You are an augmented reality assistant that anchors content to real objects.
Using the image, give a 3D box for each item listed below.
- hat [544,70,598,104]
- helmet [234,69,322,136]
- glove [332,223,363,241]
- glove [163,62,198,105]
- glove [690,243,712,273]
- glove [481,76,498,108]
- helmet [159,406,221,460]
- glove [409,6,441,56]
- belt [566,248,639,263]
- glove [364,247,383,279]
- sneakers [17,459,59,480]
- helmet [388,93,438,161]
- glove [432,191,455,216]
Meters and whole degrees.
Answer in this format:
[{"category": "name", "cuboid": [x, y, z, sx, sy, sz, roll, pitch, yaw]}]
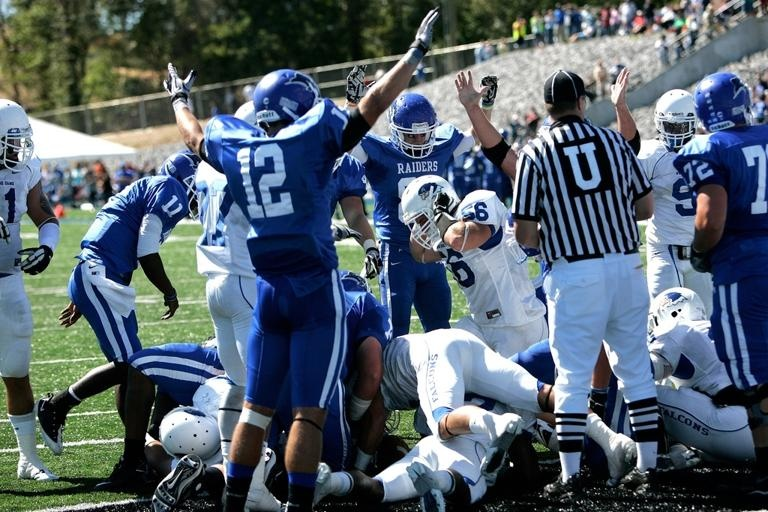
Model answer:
[{"category": "hat", "cuboid": [1.254, -1.185, 6.826, 0.189, 0.162, 0.291, 27, 45, 37]}, {"category": "helmet", "cuboid": [-0.699, -1.061, 6.654, 0.469, 0.373, 0.345, -37, 16, -10]}, {"category": "glove", "cuboid": [-0.302, -0.178, 7.783, 0.179, 0.077, 0.113, 0, 5, -17]}, {"category": "glove", "cuboid": [-1.480, -1.246, 7.169, 0.106, 0.341, 0.337, -2, -35, -21]}, {"category": "glove", "cuboid": [2.198, 0.022, 6.961, 0.178, 0.175, 0.139, -7, 12, -26]}, {"category": "glove", "cuboid": [0.793, -1.288, 7.860, 0.167, 0.248, 0.100, 20, 22, 36]}, {"category": "helmet", "cuboid": [-1.332, 1.226, 6.910, 0.405, 0.300, 0.298, 26, -12, -38]}, {"category": "glove", "cuboid": [0.296, -1.482, 6.520, 0.124, 0.422, 0.115, 41, -44, -19]}, {"category": "belt", "cuboid": [1.383, 0.011, 6.651, 0.199, 0.060, 0.219, -15, -1, -41]}, {"category": "glove", "cuboid": [-0.092, 0.059, 7.870, 0.077, 0.228, 0.164, -2, -19, 1]}, {"category": "sneakers", "cuboid": [-2.475, 1.544, 7.241, 0.343, 0.161, 0.125, 0, -5, 9]}, {"category": "helmet", "cuboid": [0.194, -1.160, 8.270, 0.366, 0.484, 0.398, -13, -41, -8]}, {"category": "glove", "cuboid": [0.421, -0.359, 7.090, 0.171, 0.172, 0.138, 11, -10, -17]}]
